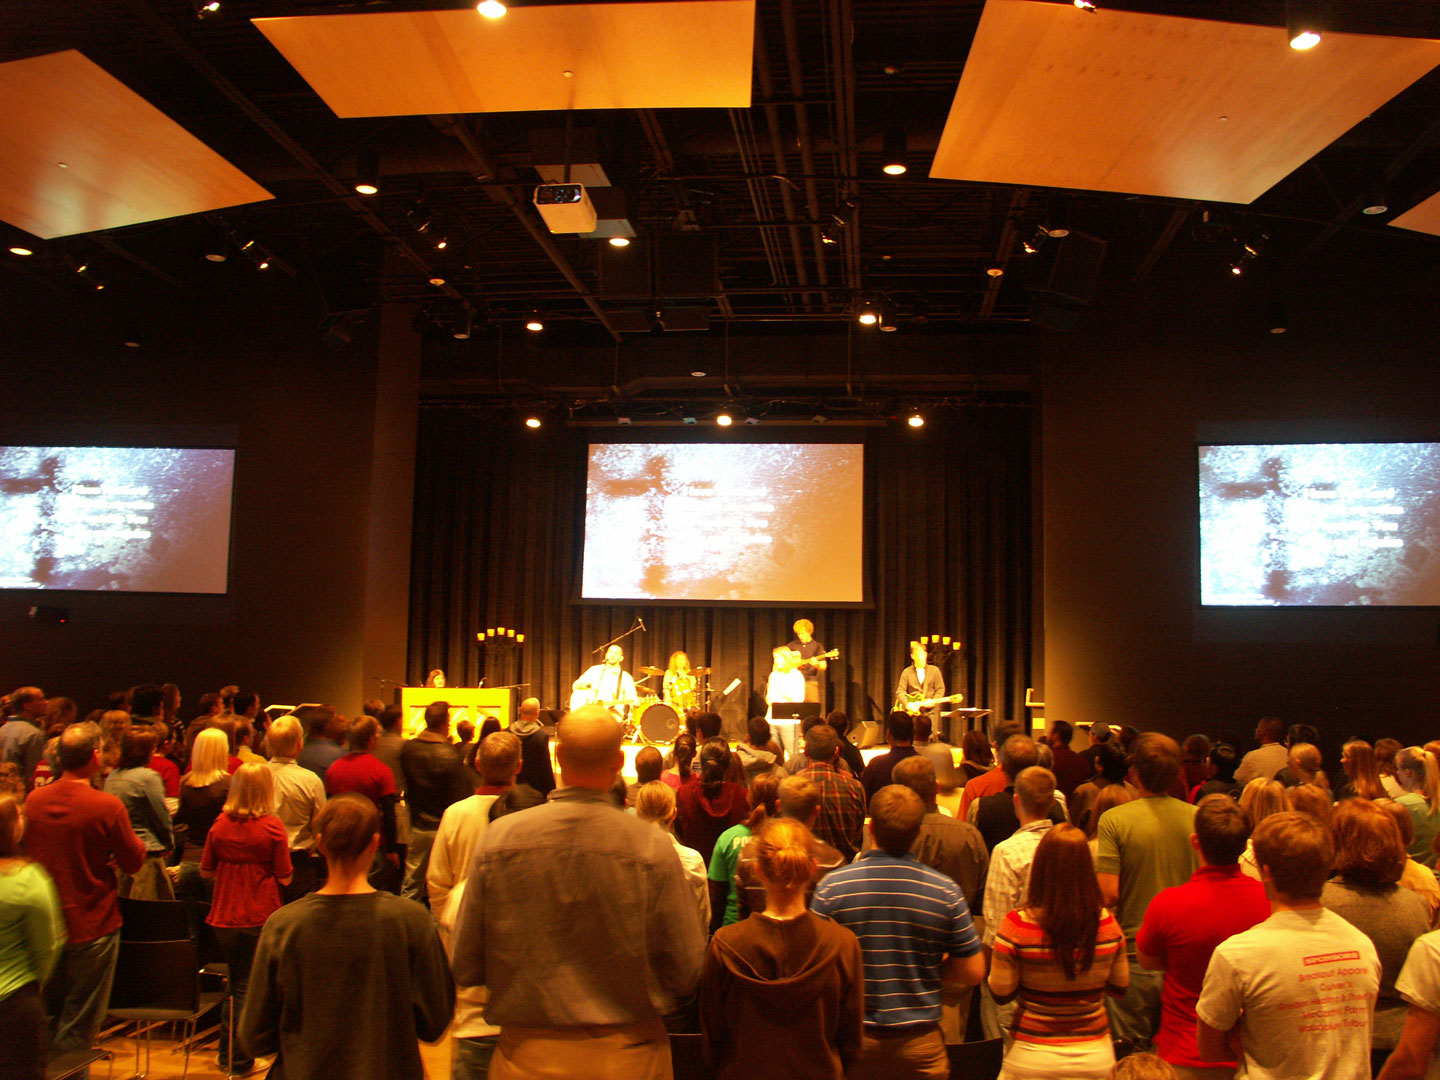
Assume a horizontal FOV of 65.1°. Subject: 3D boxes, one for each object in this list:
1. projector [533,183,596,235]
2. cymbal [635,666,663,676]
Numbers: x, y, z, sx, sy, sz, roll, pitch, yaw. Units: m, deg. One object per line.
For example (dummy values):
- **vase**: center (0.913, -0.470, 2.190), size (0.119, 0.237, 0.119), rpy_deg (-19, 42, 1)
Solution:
- **projector**: center (-1.095, -2.386, 8.037), size (0.387, 0.285, 0.470), rpy_deg (2, -7, 10)
- **cymbal**: center (-0.878, 1.648, 14.311), size (0.271, 0.101, 0.276), rpy_deg (5, -1, 36)
